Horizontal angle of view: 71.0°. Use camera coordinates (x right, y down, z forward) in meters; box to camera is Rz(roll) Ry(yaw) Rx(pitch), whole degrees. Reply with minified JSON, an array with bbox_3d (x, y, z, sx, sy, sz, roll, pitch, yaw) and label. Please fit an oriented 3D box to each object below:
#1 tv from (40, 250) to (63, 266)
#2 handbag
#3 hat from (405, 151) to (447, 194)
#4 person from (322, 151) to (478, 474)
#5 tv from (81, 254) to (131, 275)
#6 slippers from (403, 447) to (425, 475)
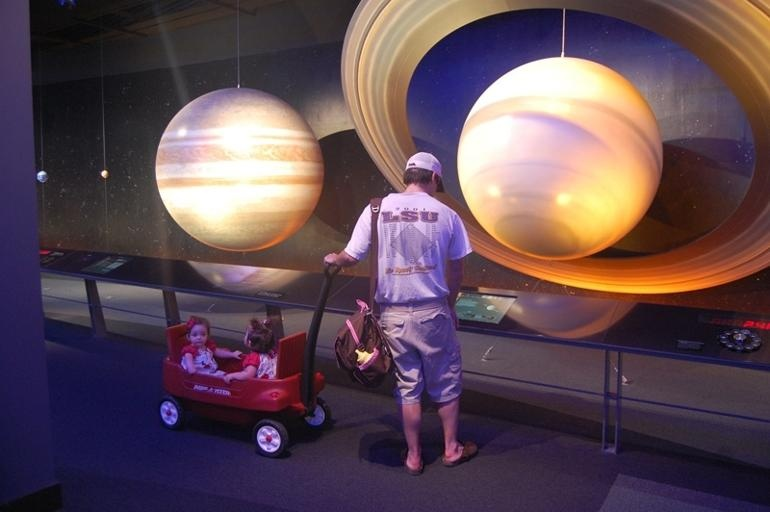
[{"bbox_3d":[-3.046,0.007,4.952,0.185,0.059,0.431,-9,17,-32],"label":"tv"},{"bbox_3d":[-0.023,0.459,2.906,0.231,0.441,0.318,2,-10,-44],"label":"handbag"},{"bbox_3d":[0.217,-0.438,2.834,0.163,0.123,0.228,9,11,-20],"label":"hat"},{"bbox_3d":[0.164,0.299,2.893,0.738,1.660,0.435,3,14,11],"label":"person"},{"bbox_3d":[-2.304,0.079,4.483,0.455,0.025,0.468,-3,14,23],"label":"tv"},{"bbox_3d":[0.158,1.128,2.952,0.062,0.052,0.142,-2,26,5],"label":"slippers"}]
